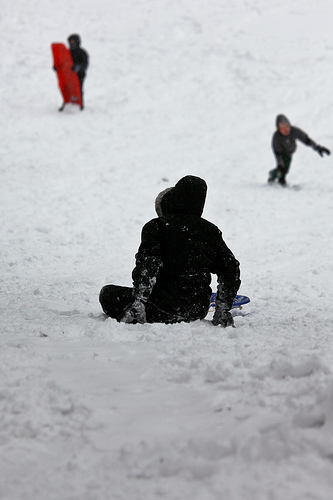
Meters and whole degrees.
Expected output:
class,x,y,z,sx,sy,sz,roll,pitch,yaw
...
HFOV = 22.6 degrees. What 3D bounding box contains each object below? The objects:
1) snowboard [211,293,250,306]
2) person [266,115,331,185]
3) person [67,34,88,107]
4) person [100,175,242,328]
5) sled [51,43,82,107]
class,x,y,z,sx,sy,sz,roll,pitch,yaw
snowboard,0.512,0.381,6.286,0.233,0.041,0.134,-4,20,-40
person,1.734,-1.343,11.416,0.615,0.993,0.950,-1,10,4
person,-1.306,-2.870,12.776,0.262,0.779,0.811,-3,10,-5
person,0.058,0.025,5.318,0.809,0.948,0.544,-7,11,-23
sled,-1.518,-2.707,12.529,0.286,0.118,1.177,-13,57,-5
